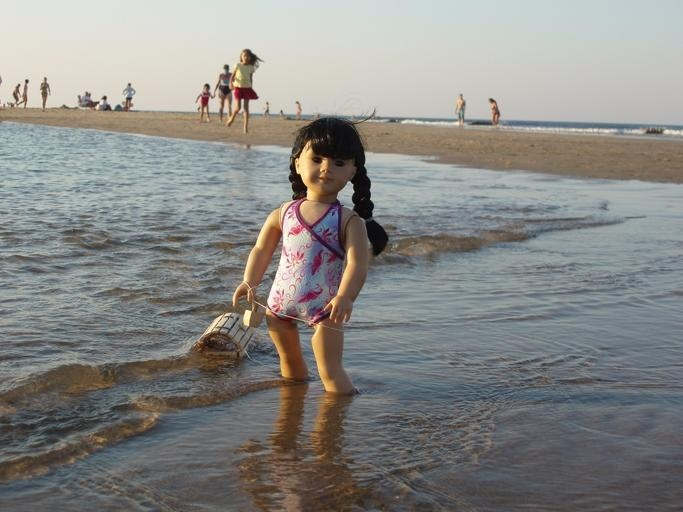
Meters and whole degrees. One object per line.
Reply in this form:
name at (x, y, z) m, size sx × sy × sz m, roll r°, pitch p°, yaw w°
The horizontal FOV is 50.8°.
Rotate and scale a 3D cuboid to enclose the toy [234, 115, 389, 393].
toy at (-0.178, -0.017, 3.808) m, size 0.706 × 1.438 × 0.590 m, roll 3°, pitch 10°, yaw 19°
